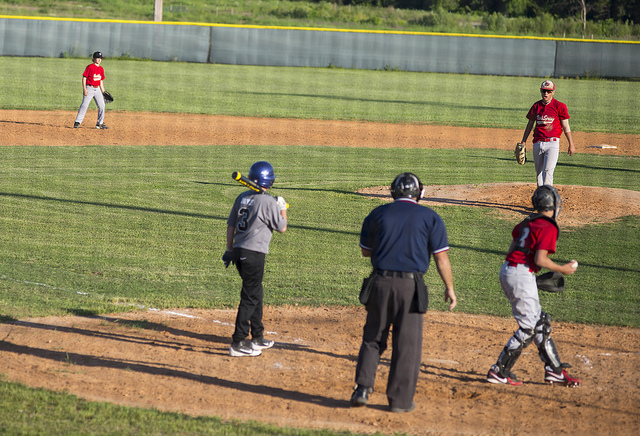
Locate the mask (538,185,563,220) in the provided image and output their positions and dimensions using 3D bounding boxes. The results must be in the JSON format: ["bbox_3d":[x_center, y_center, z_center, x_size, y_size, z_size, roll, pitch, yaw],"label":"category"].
[{"bbox_3d":[3.950,-0.292,15.447,0.424,0.605,0.339,9,32,25],"label":"mask"}]

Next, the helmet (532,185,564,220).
[{"bbox_3d":[3.859,-0.310,15.371,0.420,0.544,0.535,4,11,12],"label":"helmet"}]

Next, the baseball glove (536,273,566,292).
[{"bbox_3d":[3.913,1.052,15.327,0.412,0.152,0.294,5,-35,-18],"label":"baseball glove"}]

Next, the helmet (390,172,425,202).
[{"bbox_3d":[1.428,-0.524,14.876,0.411,0.481,0.416,0,32,15],"label":"helmet"}]

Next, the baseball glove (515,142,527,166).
[{"bbox_3d":[4.884,-1.544,21.712,0.227,0.640,0.395,1,8,-2],"label":"baseball glove"}]

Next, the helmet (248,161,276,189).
[{"bbox_3d":[-1.034,-0.749,16.018,0.456,0.508,0.629,13,11,17],"label":"helmet"}]
